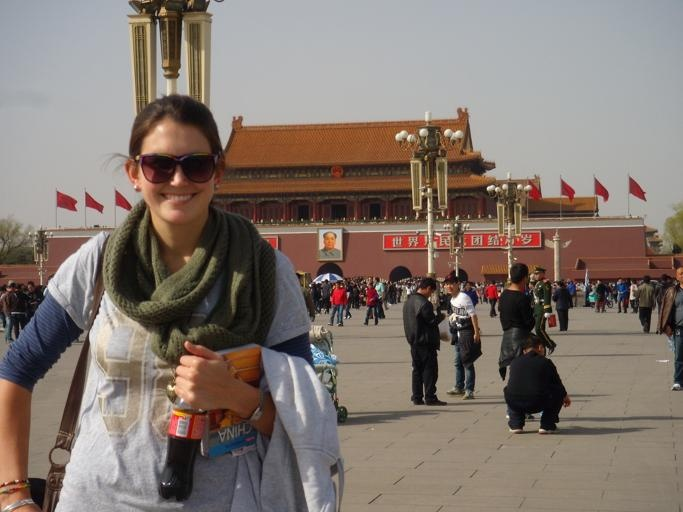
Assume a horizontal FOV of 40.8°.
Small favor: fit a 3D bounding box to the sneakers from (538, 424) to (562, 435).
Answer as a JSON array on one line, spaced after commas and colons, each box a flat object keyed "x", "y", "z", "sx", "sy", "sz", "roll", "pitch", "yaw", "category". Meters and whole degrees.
[{"x": 1.719, "y": 1.421, "z": 7.520, "sx": 0.180, "sy": 0.080, "sz": 0.065, "roll": -3, "pitch": 3, "yaw": -29, "category": "sneakers"}]

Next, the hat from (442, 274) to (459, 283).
[{"x": 1.196, "y": 0.259, "z": 9.991, "sx": 0.105, "sy": 0.138, "sz": 0.134, "roll": -1, "pitch": 1, "yaw": -43, "category": "hat"}]

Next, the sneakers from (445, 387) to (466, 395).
[{"x": 1.249, "y": 1.481, "z": 9.933, "sx": 0.214, "sy": 0.107, "sz": 0.076, "roll": 3, "pitch": -4, "yaw": -1, "category": "sneakers"}]

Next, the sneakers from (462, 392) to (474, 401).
[{"x": 1.333, "y": 1.463, "z": 9.584, "sx": 0.120, "sy": 0.084, "sz": 0.198, "roll": -2, "pitch": 0, "yaw": 9, "category": "sneakers"}]

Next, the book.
[{"x": -0.342, "y": 0.503, "z": 2.932, "sx": 0.276, "sy": 0.301, "sz": 0.069, "roll": -5, "pitch": 17, "yaw": -27, "category": "book"}]

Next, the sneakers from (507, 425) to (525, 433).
[{"x": 1.452, "y": 1.445, "z": 7.579, "sx": 0.045, "sy": 0.054, "sz": 0.123, "roll": 1, "pitch": -15, "yaw": -5, "category": "sneakers"}]
